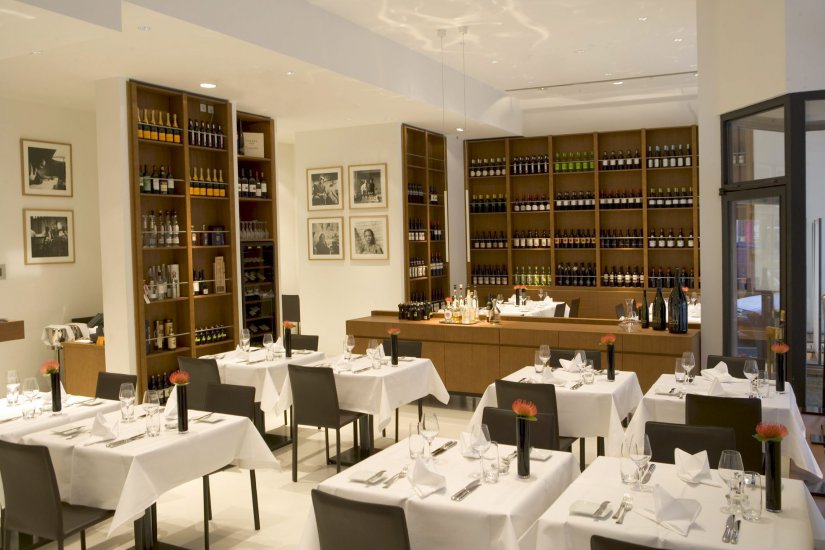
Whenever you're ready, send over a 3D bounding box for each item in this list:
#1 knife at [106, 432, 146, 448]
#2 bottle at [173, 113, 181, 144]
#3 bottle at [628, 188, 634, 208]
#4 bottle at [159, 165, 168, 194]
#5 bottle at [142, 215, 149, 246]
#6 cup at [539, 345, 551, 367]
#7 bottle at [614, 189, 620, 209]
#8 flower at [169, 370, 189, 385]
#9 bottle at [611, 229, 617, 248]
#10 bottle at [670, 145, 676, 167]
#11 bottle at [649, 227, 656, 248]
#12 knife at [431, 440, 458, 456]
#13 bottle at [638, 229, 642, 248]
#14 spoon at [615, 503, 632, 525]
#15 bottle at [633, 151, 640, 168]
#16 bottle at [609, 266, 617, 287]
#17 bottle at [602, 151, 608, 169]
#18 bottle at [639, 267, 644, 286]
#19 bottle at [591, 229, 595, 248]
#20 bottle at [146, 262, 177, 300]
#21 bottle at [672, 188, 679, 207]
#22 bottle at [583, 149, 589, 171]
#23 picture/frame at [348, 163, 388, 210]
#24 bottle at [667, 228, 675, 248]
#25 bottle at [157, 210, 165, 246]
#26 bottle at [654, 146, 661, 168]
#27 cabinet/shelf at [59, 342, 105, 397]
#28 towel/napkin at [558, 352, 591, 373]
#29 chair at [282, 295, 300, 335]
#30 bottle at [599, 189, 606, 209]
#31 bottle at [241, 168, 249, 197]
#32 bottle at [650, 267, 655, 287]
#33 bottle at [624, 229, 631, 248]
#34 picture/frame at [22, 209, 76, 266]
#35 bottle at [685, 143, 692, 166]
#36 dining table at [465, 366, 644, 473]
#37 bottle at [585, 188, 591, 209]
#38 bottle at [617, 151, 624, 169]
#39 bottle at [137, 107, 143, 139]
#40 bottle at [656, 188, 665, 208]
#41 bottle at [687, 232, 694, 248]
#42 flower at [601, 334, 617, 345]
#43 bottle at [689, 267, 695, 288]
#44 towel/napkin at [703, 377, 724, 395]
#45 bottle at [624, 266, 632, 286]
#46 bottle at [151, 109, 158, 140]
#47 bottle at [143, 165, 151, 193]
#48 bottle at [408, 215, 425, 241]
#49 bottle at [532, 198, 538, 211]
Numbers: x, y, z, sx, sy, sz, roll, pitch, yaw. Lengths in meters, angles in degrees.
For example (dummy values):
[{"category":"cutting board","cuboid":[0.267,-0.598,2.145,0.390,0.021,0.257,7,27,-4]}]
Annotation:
[{"category":"knife","cuboid":[-2.234,1.280,4.718,0.074,0.015,0.296,5,5,16]},{"category":"bottle","cuboid":[-3.192,-1.974,8.173,0.085,0.434,0.219,-3,0,-21]},{"category":"bottle","cuboid":[4.259,-1.487,11.780,0.123,0.333,0.148,-3,0,24]},{"category":"bottle","cuboid":[-3.320,-1.276,8.098,0.101,0.395,0.257,-3,0,-20]},{"category":"bottle","cuboid":[-3.483,-0.581,7.919,0.105,0.396,0.100,-3,0,0]},{"category":"cup","cuboid":[1.271,0.775,5.847,0.081,0.201,0.257,-3,0,21]},{"category":"bottle","cuboid":[3.991,-1.482,11.871,0.122,0.333,0.117,-3,0,0]},{"category":"flower","cuboid":[-1.885,0.825,4.903,0.113,0.122,0.255,-3,0,-16]},{"category":"bottle","cuboid":[3.953,-0.723,11.923,0.147,0.338,0.119,-3,0,18]},{"category":"bottle","cuboid":[4.897,-2.239,11.459,0.120,0.396,0.086,-3,0,9]},{"category":"bottle","cuboid":[4.617,-0.700,11.687,0.159,0.335,0.142,-3,0,20]},{"category":"knife","cuboid":[0.224,1.258,4.441,0.064,0.046,0.253,4,8,22]},{"category":"bottle","cuboid":[4.388,-0.713,11.743,0.101,0.354,0.179,-3,0,13]},{"category":"spoon","cuboid":[1.255,1.412,3.624,0.049,0.031,0.203,2,11,19]},{"category":"bottle","cuboid":[4.312,-2.224,11.685,0.142,0.309,0.197,-3,0,19]},{"category":"bottle","cuboid":[3.939,0.013,11.964,0.122,0.383,0.179,-3,0,16]},{"category":"bottle","cuboid":[3.754,-2.240,11.889,0.153,0.350,0.191,-3,0,18]},{"category":"bottle","cuboid":[4.423,0.033,11.751,0.106,0.360,0.276,-3,0,20]},{"category":"bottle","cuboid":[3.572,-0.723,12.027,0.117,0.380,0.254,-3,0,17]},{"category":"bottle","cuboid":[-3.372,0.094,8.090,0.238,0.462,0.453,-2,-3,33]},{"category":"bottle","cuboid":[4.954,-1.476,11.504,0.113,0.348,0.205,-3,0,27]},{"category":"bottle","cuboid":[3.451,-2.253,12.035,0.127,0.363,0.119,-3,0,0]},{"category":"picture/frame","cuboid":[-0.747,-1.524,10.368,0.720,0.807,0.078,1,2,15]},{"category":"bottle","cuboid":[4.914,-0.702,11.568,0.201,0.347,0.186,-3,0,0]},{"category":"bottle","cuboid":[-3.375,-0.624,8.129,0.058,0.432,0.164,-3,0,-22]},{"category":"bottle","cuboid":[4.672,-2.258,11.562,0.099,0.397,0.174,-2,0,23]},{"category":"cabinet/shelf","cuboid":[-4.339,1.225,7.986,0.709,0.750,0.401,-1,-1,31]},{"category":"towel/napkin","cuboid":[1.635,0.875,6.112,0.192,0.134,0.272,2,-2,15]},{"category":"chair","cuboid":[-2.307,0.703,11.388,0.280,0.583,0.319,-1,-36,-15]},{"category":"bottle","cuboid":[3.758,-1.494,11.948,0.168,0.357,0.132,-3,0,23]},{"category":"bottle","cuboid":[-2.620,-1.438,9.430,0.107,0.444,0.252,-3,0,-15]},{"category":"bottle","cuboid":[4.585,0.035,11.655,0.100,0.357,0.173,-3,0,22]},{"category":"bottle","cuboid":[4.209,-0.733,11.838,0.114,0.324,0.097,-3,0,19]},{"category":"picture/frame","cuboid":[-5.342,-0.557,8.824,0.032,0.919,0.756,2,4,31]},{"category":"bottle","cuboid":[5.163,-2.242,11.374,0.156,0.435,0.128,-3,0,31]},{"category":"dining table","cuboid":[1.239,1.208,5.100,1.029,0.274,0.955,0,1,32]},{"category":"bottle","cuboid":[3.491,-1.486,12.046,0.162,0.360,0.120,-3,0,17]},{"category":"bottle","cuboid":[4.036,-2.240,11.813,0.128,0.315,0.155,-3,0,20]},{"category":"bottle","cuboid":[-3.508,-1.955,7.797,0.068,0.397,0.279,-3,0,-23]},{"category":"bottle","cuboid":[4.704,-1.473,11.566,0.152,0.345,0.184,-3,0,23]},{"category":"bottle","cuboid":[5.226,-0.656,11.437,0.088,0.269,0.181,-3,0,15]},{"category":"flower","cuboid":[1.980,0.650,6.147,0.211,0.140,0.223,-1,-4,13]},{"category":"bottle","cuboid":[5.236,0.050,11.470,0.154,0.351,0.107,-3,0,32]},{"category":"towel/napkin","cuboid":[2.628,0.983,5.344,0.145,0.197,0.182,4,-4,-40]},{"category":"bottle","cuboid":[4.189,0.011,11.857,0.150,0.379,0.223,-3,0,19]},{"category":"bottle","cuboid":[-3.399,-1.975,7.978,0.085,0.425,0.266,-3,0,-21]},{"category":"bottle","cuboid":[-3.431,-1.196,7.823,0.063,0.337,0.093,-2,0,44]},{"category":"bottle","cuboid":[0.050,-0.842,10.865,0.148,0.483,0.476,-1,-2,29]},{"category":"bottle","cuboid":[2.471,-1.419,12.353,0.136,0.278,0.143,0,5,0]}]
